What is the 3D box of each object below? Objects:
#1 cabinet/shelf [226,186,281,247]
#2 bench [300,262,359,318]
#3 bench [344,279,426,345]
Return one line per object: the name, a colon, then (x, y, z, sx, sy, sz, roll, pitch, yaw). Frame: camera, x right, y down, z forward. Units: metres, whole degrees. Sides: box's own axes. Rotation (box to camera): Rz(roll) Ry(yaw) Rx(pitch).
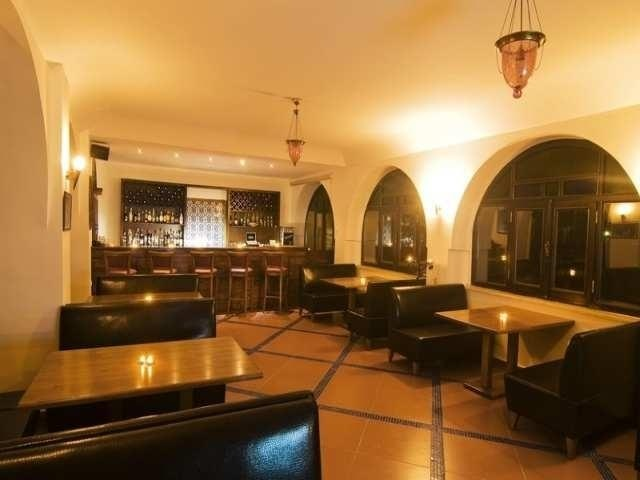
cabinet/shelf: (-1.632, -0.581, 11.700, 1.314, 1.592, 0.428, 3, -3, -37)
bench: (0.164, 0.870, 8.974, 1.314, 1.141, 0.740, 2, -3, -25)
bench: (1.054, 1.012, 7.391, 1.192, 1.245, 0.838, -1, 4, -33)
